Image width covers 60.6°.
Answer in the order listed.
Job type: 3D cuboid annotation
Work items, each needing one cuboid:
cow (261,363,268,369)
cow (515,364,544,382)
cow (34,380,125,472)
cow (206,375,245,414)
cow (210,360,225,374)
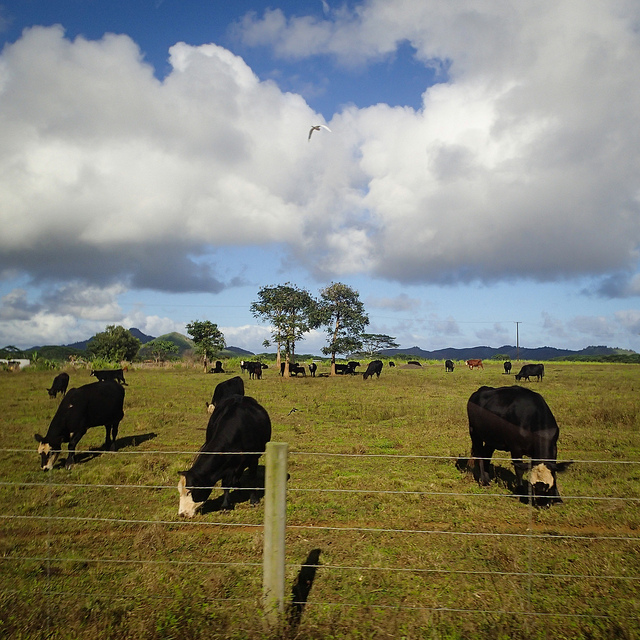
[{"bbox_3d":[-4.357,3.611,43.612,0.321,0.596,1.078,0,-5,-13],"label":"cow"},{"bbox_3d":[13.312,3.288,34.913,1.499,0.975,3.279,0,-3,18],"label":"cow"},{"bbox_3d":[-5.307,2.230,12.246,0.592,1.577,2.533,1,-3,11],"label":"cow"},{"bbox_3d":[-2.227,1.638,13.149,0.863,0.994,0.997,-4,12,-9],"label":"cow"},{"bbox_3d":[-8.366,4.007,44.467,1.433,1.424,0.785,1,6,-2],"label":"cow"}]
